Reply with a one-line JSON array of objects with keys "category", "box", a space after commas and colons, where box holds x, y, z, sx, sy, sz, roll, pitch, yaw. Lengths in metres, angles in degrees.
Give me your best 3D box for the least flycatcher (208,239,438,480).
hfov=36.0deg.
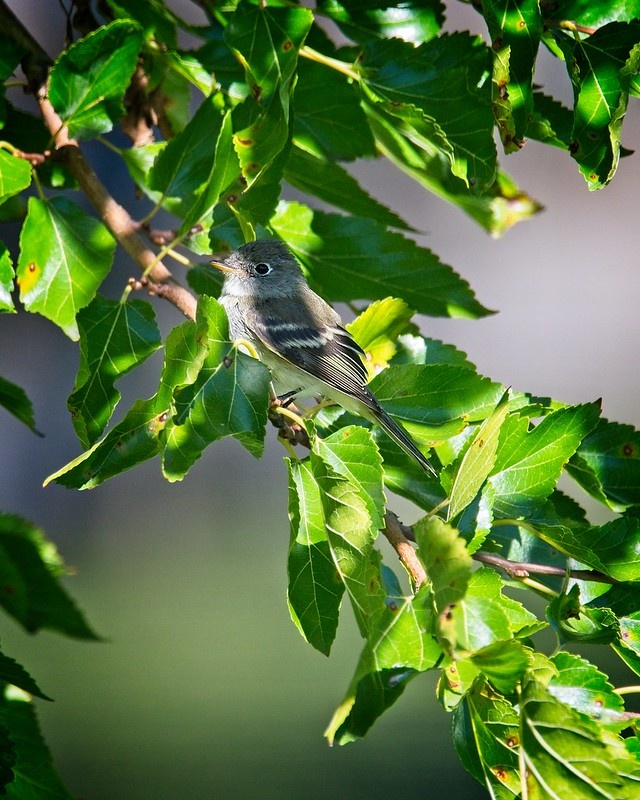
[{"category": "least flycatcher", "box": [0.005, -0.149, 3.209, 1.077, 0.464, 0.328, 22, -7, -31]}]
